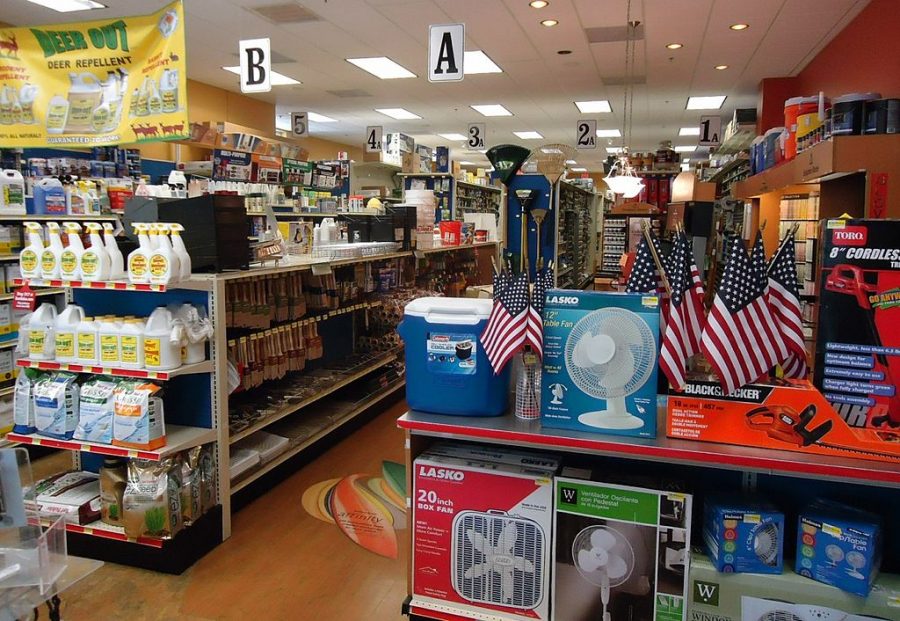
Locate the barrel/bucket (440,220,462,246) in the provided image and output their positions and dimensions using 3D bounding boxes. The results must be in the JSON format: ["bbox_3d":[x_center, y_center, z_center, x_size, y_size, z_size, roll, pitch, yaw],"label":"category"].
[{"bbox_3d":[0.031,-0.961,7.773,0.294,0.301,0.292,1,14,0],"label":"barrel/bucket"}]

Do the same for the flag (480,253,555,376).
[{"bbox_3d":[0.347,0.028,3.284,0.384,0.517,0.251,-4,12,-6],"label":"flag"}]
